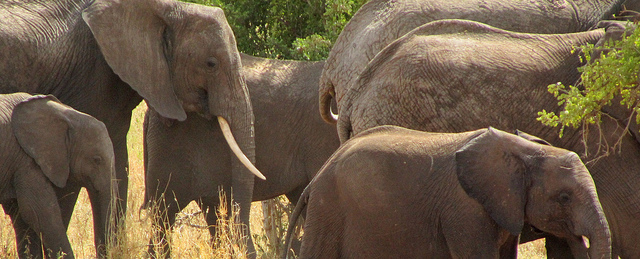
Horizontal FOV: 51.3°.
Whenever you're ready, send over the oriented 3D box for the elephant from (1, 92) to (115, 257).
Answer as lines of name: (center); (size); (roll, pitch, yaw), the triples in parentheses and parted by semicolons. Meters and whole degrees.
elephant: (-3.996, 0.654, 10.016); (1.638, 2.465, 0.728); (4, -14, -19)
